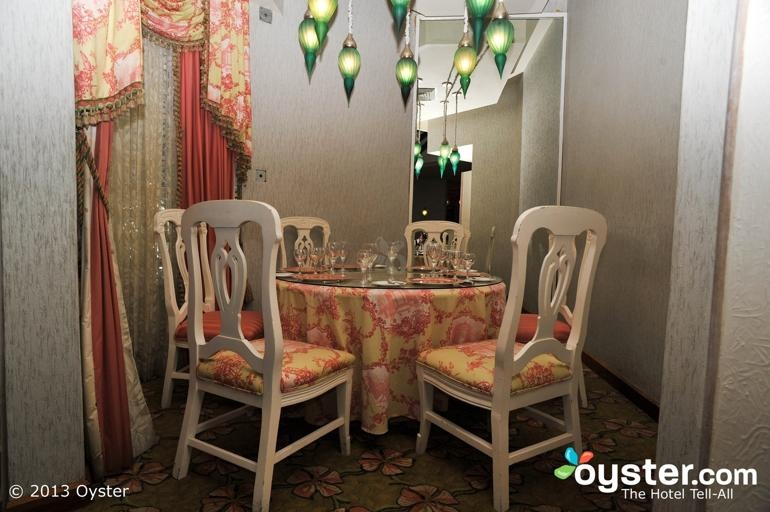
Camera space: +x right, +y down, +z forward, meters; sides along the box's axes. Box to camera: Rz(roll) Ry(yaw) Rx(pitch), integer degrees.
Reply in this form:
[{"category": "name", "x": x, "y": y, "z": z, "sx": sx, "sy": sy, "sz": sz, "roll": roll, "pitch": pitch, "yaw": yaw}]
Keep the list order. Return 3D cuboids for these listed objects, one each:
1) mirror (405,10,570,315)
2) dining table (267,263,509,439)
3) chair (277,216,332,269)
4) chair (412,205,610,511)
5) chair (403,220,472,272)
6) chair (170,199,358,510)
[{"category": "mirror", "x": 1.612, "y": -1.403, "z": 7.165, "sx": 2.120, "sy": 4.175, "sz": 1.986, "roll": 4, "pitch": 7, "yaw": 21}, {"category": "dining table", "x": -0.008, "y": 0.473, "z": 3.280, "sx": 0.973, "sy": 0.566, "sz": 0.980, "roll": 1, "pitch": 3, "yaw": -2}, {"category": "chair", "x": -0.629, "y": -0.102, "z": 4.301, "sx": 0.423, "sy": 0.692, "sz": 0.371, "roll": 0, "pitch": -4, "yaw": -11}, {"category": "chair", "x": 0.658, "y": 0.465, "z": 3.067, "sx": 0.739, "sy": 1.495, "sz": 0.740, "roll": -10, "pitch": 14, "yaw": -40}, {"category": "chair", "x": 0.449, "y": -0.110, "z": 4.962, "sx": 0.495, "sy": 0.724, "sz": 0.469, "roll": 0, "pitch": -4, "yaw": 6}, {"category": "chair", "x": -0.660, "y": 0.456, "z": 2.978, "sx": 0.750, "sy": 1.511, "sz": 0.682, "roll": 4, "pitch": 12, "yaw": 28}]
